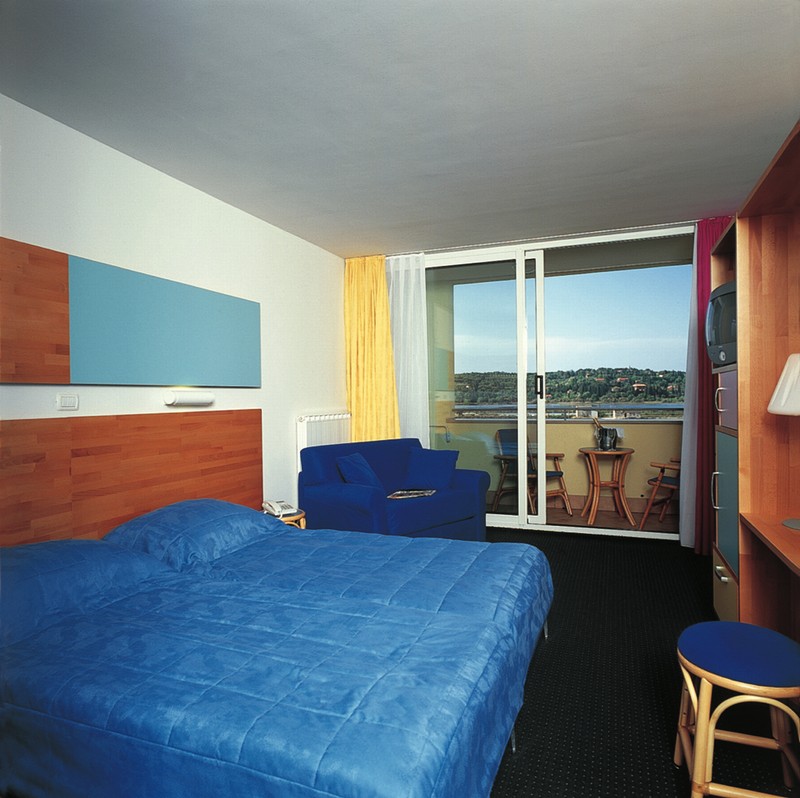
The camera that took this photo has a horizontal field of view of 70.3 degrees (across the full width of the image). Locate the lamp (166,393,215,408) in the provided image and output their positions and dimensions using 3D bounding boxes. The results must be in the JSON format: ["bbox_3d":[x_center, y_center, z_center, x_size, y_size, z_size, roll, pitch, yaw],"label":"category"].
[{"bbox_3d":[-1.278,0.010,3.455,0.076,0.078,0.319,1,3,27],"label":"lamp"}]
